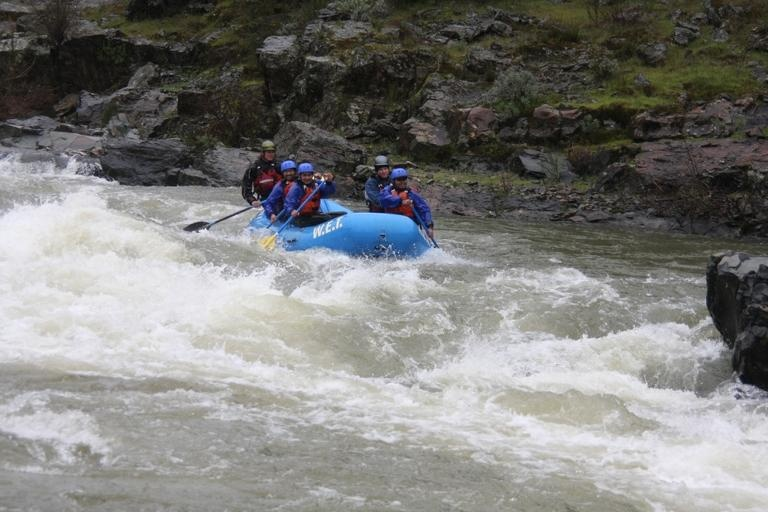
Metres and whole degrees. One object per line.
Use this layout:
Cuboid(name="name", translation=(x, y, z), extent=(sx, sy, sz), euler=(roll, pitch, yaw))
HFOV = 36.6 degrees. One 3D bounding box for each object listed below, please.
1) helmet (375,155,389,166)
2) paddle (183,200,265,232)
Cuboid(name="helmet", translation=(-0.084, -3.054, 37.503), extent=(0.371, 0.292, 0.408), euler=(0, 27, -1))
Cuboid(name="paddle", translation=(-5.258, -1.260, 38.534), extent=(3.458, 0.688, 0.231), euler=(-20, 5, -27))
